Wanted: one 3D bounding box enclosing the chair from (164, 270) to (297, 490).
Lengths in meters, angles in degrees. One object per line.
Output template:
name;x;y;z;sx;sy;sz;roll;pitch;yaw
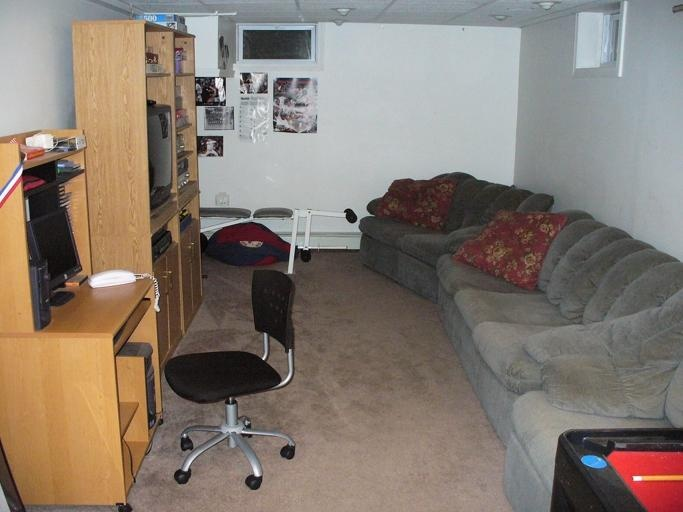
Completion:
chair;-0.594;0.627;3.003;0.711;0.998;0.879;-4;22;-19

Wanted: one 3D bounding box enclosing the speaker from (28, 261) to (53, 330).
speaker;-1.381;0.181;2.497;0.064;0.301;0.114;-2;21;-15

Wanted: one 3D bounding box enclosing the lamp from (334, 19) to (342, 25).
lamp;-0.024;-2.631;6.111;0.076;0.033;0.086;-2;18;-6

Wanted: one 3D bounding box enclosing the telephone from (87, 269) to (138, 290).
telephone;-1.290;0.123;3.072;0.200;0.059;0.107;-3;11;-30
